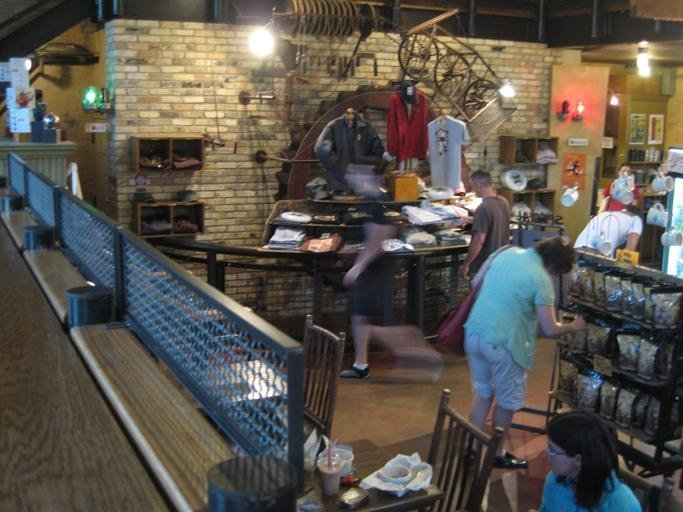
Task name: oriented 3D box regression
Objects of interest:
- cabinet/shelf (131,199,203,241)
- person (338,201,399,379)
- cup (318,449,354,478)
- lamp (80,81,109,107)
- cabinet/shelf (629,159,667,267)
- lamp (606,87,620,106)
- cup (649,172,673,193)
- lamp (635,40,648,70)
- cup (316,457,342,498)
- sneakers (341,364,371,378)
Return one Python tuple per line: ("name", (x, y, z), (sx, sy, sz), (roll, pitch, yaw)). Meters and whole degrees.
("cabinet/shelf", (-2.292, -0.472, 7.511), (1.162, 0.498, 0.546), (-2, 3, -27))
("person", (0.218, 0.365, 5.294), (0.524, 1.666, 0.323), (-4, 16, -19))
("cup", (-0.023, 0.855, 2.382), (0.148, 0.072, 0.132), (0, -1, 6))
("lamp", (-3.153, -2.079, 7.387), (0.380, 0.310, 0.379), (-6, 13, -42))
("cabinet/shelf", (5.967, -0.919, 10.754), (0.434, 1.488, 0.479), (-8, 23, -36))
("lamp", (5.324, -3.101, 11.084), (0.234, 0.363, 0.533), (7, 14, 22))
("cup", (2.748, -0.620, 4.818), (0.177, 0.184, 0.154), (-1, 10, -19))
("lamp", (4.687, -3.134, 8.843), (0.162, 0.411, 1.109), (8, 14, 25))
("cup", (-0.048, 0.891, 2.277), (0.148, 0.170, 0.125), (0, -1, -3))
("sneakers", (0.127, 1.117, 5.477), (0.250, 0.079, 0.114), (3, -2, 5))
